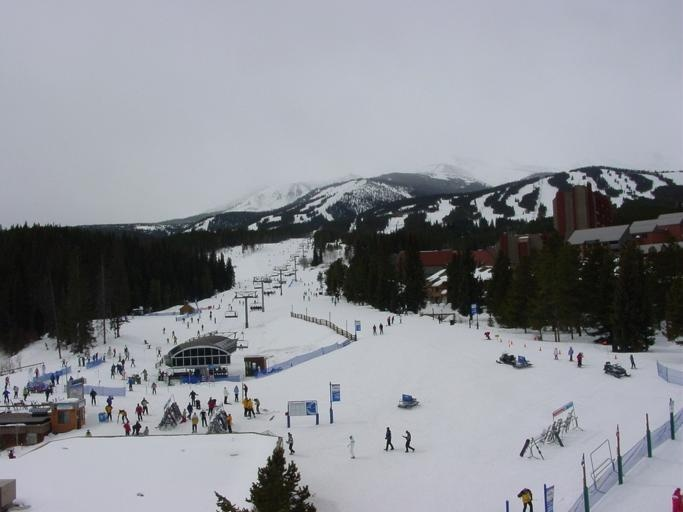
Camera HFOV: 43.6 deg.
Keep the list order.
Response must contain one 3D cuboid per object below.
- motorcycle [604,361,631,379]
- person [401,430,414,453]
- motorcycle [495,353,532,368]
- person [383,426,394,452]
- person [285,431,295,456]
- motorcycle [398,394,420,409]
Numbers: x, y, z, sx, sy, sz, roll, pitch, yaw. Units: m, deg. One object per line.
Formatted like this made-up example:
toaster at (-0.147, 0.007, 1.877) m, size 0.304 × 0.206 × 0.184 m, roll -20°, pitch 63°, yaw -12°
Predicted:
motorcycle at (22.257, 9.237, 68.935) m, size 1.226 × 0.880 × 2.167 m, roll -8°, pitch 13°, yaw -18°
person at (4.915, 13.308, 63.137) m, size 0.729 × 1.683 × 2.384 m, roll -3°, pitch 12°, yaw 2°
motorcycle at (15.212, 9.080, 74.904) m, size 1.698 × 0.902 × 3.242 m, roll -13°, pitch 15°, yaw -35°
person at (3.506, 13.263, 63.621) m, size 0.594 × 1.665 × 2.373 m, roll -2°, pitch 12°, yaw 4°
person at (-3.860, 13.545, 63.323) m, size 0.611 × 1.595 × 2.865 m, roll -4°, pitch 12°, yaw -4°
motorcycle at (5.431, 11.696, 69.317) m, size 1.777 × 0.992 × 1.247 m, roll -8°, pitch 12°, yaw -18°
